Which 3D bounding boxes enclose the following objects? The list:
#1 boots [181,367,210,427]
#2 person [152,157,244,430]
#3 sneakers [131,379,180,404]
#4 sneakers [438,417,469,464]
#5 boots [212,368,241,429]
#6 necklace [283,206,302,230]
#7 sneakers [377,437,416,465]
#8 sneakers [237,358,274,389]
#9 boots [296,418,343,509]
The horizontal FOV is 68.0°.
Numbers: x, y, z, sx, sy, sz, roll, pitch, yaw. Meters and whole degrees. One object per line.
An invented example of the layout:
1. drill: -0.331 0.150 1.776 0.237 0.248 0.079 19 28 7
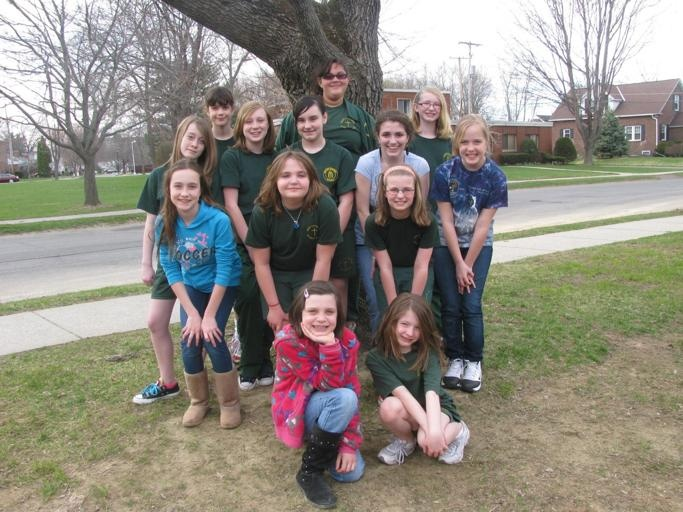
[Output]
1. boots: -1.162 1.128 3.982 0.159 0.382 0.377 -3 8 10
2. person: -1.095 0.293 3.923 0.611 2.045 0.592 -5 13 -4
3. sneakers: -1.578 1.159 4.321 0.390 0.166 0.145 0 -2 -31
4. sneakers: 0.820 1.371 3.634 0.133 0.167 0.378 16 56 39
5. boots: -0.884 1.110 3.936 0.165 0.423 0.207 -7 14 -11
6. necklace: -0.384 -0.303 3.931 0.148 0.292 0.021 -4 3 -2
7. sneakers: 0.398 1.406 3.657 0.241 0.101 0.145 -9 15 -33
8. sneakers: -0.748 1.117 4.602 0.131 0.199 0.418 -2 -8 24
9. boots: -0.142 1.359 3.259 0.314 0.468 0.236 -6 13 -7
